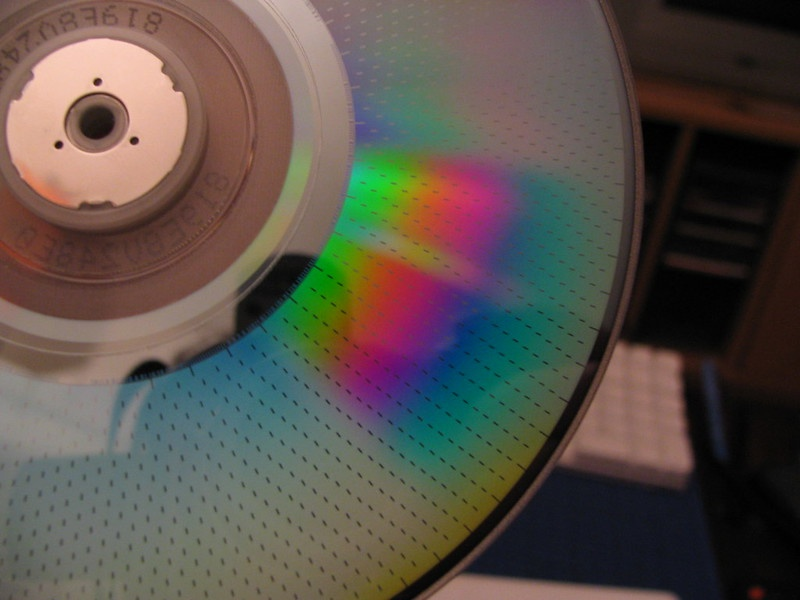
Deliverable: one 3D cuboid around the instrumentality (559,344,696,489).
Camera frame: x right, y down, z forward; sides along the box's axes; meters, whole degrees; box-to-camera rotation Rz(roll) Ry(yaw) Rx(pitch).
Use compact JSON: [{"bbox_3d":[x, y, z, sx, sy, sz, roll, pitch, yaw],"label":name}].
[{"bbox_3d":[0.329,0.165,1.047,0.172,0.047,0.209,11,61,-8],"label":"instrumentality"}]
